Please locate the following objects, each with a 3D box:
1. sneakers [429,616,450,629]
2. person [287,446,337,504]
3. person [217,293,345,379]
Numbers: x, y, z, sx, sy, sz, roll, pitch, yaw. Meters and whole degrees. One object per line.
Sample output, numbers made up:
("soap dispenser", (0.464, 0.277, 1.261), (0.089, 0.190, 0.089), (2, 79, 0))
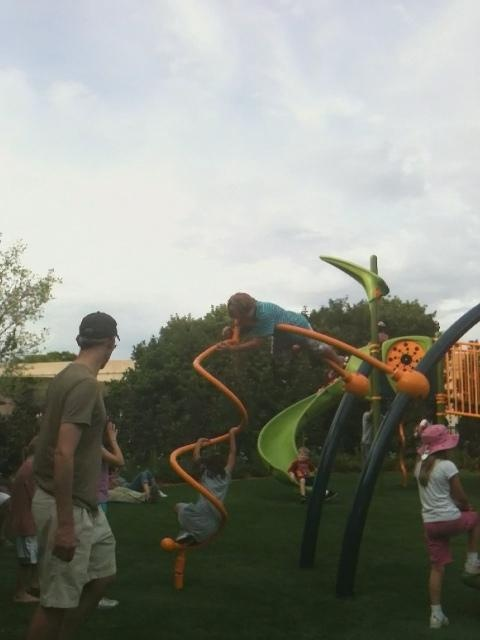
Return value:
("sneakers", (1.543, 2.348, 5.205), (0.146, 0.115, 0.115), (-1, -2, 14))
("person", (1.137, 2.842, 12.360), (0.785, 0.363, 1.061), (10, 33, -7))
("person", (0.529, 0.098, 7.628), (1.801, 0.530, 0.569), (10, -3, -36))
